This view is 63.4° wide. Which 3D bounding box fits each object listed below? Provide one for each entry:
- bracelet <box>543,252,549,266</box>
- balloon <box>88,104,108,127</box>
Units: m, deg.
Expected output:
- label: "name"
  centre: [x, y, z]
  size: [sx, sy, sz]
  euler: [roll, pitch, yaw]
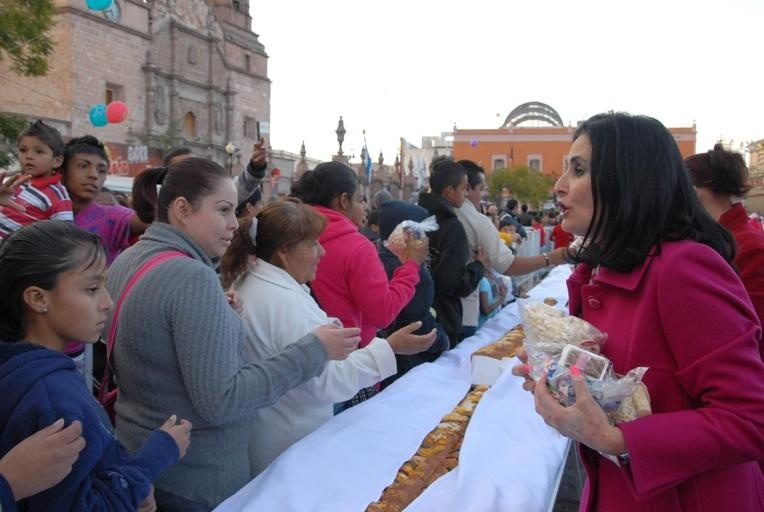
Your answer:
- label: "bracelet"
  centre: [1.276, 0.019, 4.813]
  size: [0.055, 0.083, 0.089]
  euler: [2, -30, 10]
- label: "balloon"
  centre: [-4.282, -2.140, 9.347]
  size: [0.211, 0.334, 1.014]
  euler: [-1, 15, -25]
